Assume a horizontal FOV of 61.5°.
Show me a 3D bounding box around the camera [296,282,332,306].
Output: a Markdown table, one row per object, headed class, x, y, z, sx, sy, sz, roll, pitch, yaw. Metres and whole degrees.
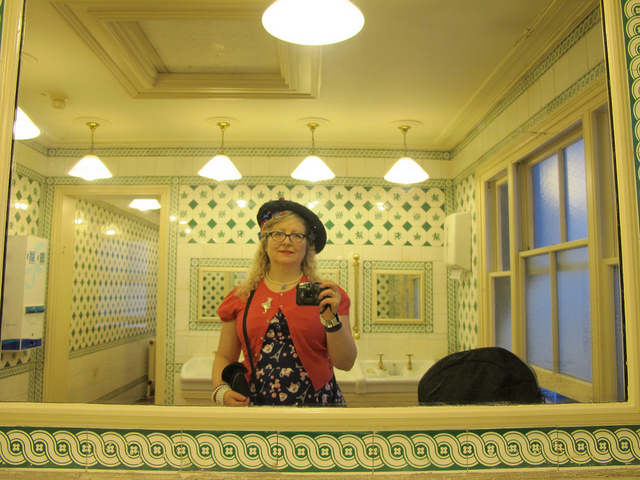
| class | x | y | z | sx | sy | sz | roll | pitch | yaw |
| --- | --- | --- | --- | --- | --- | --- | --- | --- | --- |
| camera | -0.028 | 0.152 | 1.521 | 0.102 | 0.074 | 0.062 | -1 | -11 | 3 |
